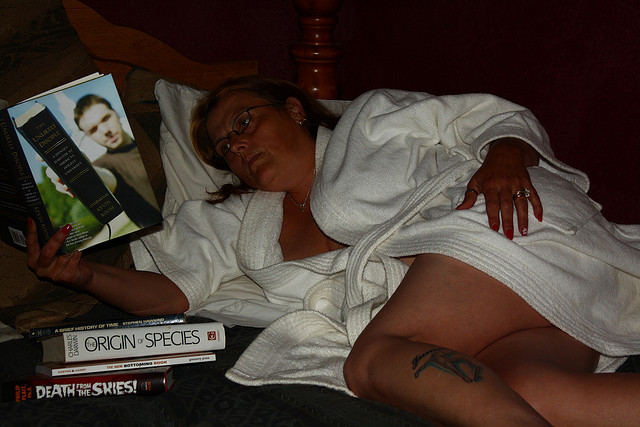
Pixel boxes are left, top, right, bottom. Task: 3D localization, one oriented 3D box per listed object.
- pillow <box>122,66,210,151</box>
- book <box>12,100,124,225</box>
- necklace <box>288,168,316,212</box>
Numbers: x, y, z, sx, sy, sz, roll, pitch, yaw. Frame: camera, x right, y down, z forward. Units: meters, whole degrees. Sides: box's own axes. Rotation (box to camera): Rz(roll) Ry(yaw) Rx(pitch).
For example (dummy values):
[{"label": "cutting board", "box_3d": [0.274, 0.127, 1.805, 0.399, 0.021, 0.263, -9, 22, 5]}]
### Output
[{"label": "pillow", "box_3d": [-0.623, -0.412, 2.235, 0.305, 0.087, 0.289, 12, 58, -38]}, {"label": "book", "box_3d": [-0.676, -0.129, 1.505, 0.241, 0.283, 0.087, 29, 54, 29]}, {"label": "necklace", "box_3d": [-0.059, -0.085, 1.933, 0.049, 0.155, 0.014, 5, 37, 13]}]
